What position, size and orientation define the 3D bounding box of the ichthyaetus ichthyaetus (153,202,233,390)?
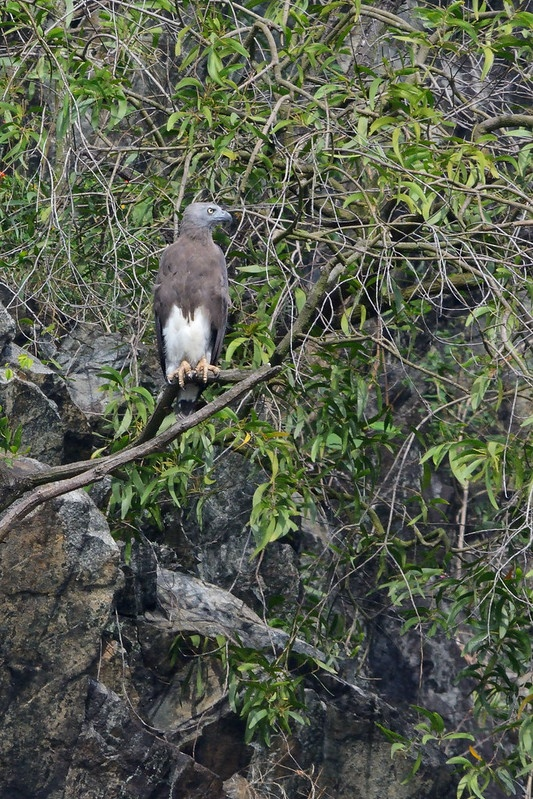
[{"bbox_3d":[-0.272,-0.402,4.684,0.304,0.601,0.544,3,52,-12],"label":"ichthyaetus ichthyaetus"}]
